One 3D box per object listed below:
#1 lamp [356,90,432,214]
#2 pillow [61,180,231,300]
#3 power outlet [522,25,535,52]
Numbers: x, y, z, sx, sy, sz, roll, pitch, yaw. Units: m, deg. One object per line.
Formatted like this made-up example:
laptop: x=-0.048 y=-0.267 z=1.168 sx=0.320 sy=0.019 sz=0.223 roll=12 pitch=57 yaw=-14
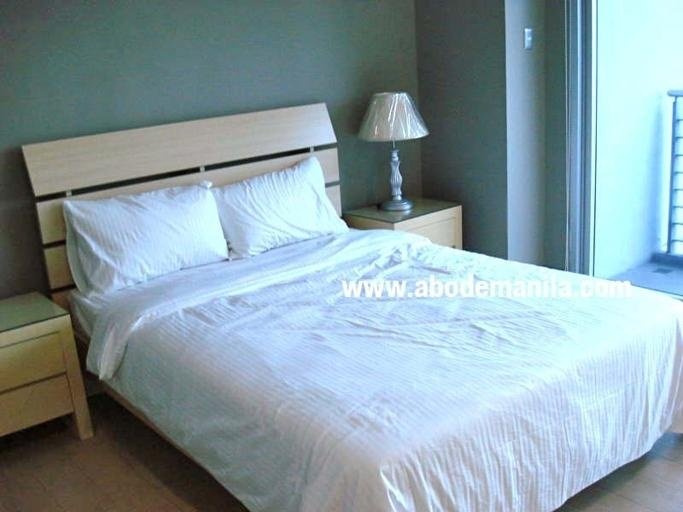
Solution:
lamp: x=0.360 y=-0.767 z=4.084 sx=0.511 sy=0.886 sz=0.525 roll=-13 pitch=27 yaw=-9
pillow: x=-1.073 y=-0.128 z=3.095 sx=0.813 sy=0.469 sz=0.320 roll=-17 pitch=21 yaw=-26
power outlet: x=1.264 y=-1.457 z=3.803 sx=0.120 sy=0.142 sz=0.021 roll=-22 pitch=24 yaw=-38
